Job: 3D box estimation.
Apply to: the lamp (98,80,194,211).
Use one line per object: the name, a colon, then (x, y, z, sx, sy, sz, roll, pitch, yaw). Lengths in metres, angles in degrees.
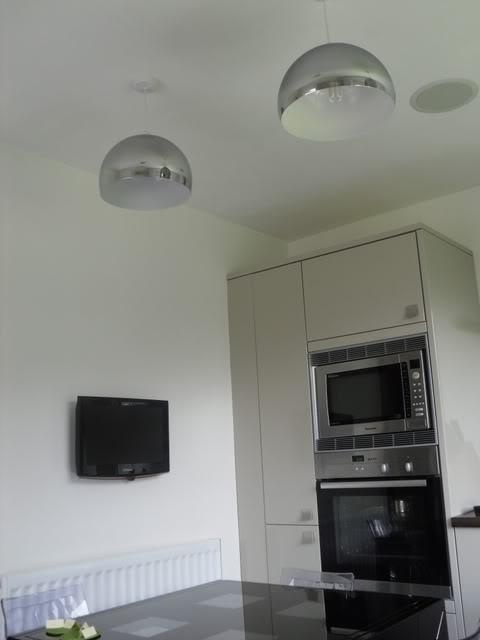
lamp: (-0.264, -0.422, 1.522, 0.251, 0.187, 0.277, 4, -15, -36)

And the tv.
tv: (-0.519, 0.527, 2.486, 0.073, 0.356, 0.494, -21, -23, 39)

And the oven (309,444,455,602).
oven: (0.731, 0.950, 2.658, 0.614, 0.646, 0.416, -14, -21, 35)

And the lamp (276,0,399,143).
lamp: (0.207, -0.552, 1.290, 0.250, 0.292, 0.259, -4, 2, -7)

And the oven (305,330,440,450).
oven: (0.753, 0.383, 2.763, 0.388, 0.497, 0.695, 10, -19, -40)
